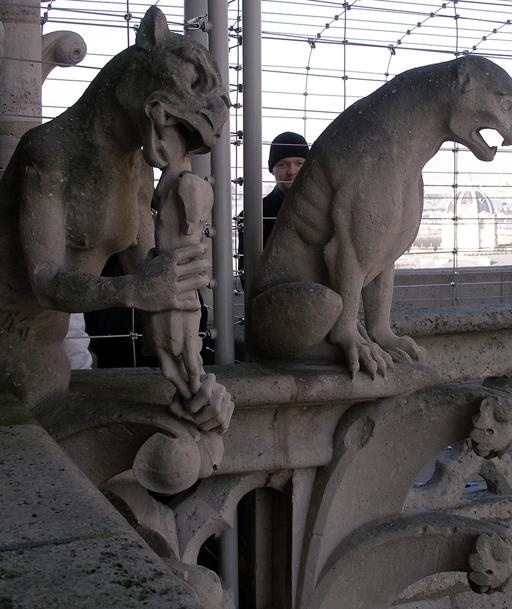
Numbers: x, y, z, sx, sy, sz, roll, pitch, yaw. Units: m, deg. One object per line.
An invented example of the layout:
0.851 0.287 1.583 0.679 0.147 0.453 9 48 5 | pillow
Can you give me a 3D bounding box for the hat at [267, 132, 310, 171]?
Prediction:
0.110 -0.537 3.423 0.139 0.132 0.130 -3 -13 32 | hat
